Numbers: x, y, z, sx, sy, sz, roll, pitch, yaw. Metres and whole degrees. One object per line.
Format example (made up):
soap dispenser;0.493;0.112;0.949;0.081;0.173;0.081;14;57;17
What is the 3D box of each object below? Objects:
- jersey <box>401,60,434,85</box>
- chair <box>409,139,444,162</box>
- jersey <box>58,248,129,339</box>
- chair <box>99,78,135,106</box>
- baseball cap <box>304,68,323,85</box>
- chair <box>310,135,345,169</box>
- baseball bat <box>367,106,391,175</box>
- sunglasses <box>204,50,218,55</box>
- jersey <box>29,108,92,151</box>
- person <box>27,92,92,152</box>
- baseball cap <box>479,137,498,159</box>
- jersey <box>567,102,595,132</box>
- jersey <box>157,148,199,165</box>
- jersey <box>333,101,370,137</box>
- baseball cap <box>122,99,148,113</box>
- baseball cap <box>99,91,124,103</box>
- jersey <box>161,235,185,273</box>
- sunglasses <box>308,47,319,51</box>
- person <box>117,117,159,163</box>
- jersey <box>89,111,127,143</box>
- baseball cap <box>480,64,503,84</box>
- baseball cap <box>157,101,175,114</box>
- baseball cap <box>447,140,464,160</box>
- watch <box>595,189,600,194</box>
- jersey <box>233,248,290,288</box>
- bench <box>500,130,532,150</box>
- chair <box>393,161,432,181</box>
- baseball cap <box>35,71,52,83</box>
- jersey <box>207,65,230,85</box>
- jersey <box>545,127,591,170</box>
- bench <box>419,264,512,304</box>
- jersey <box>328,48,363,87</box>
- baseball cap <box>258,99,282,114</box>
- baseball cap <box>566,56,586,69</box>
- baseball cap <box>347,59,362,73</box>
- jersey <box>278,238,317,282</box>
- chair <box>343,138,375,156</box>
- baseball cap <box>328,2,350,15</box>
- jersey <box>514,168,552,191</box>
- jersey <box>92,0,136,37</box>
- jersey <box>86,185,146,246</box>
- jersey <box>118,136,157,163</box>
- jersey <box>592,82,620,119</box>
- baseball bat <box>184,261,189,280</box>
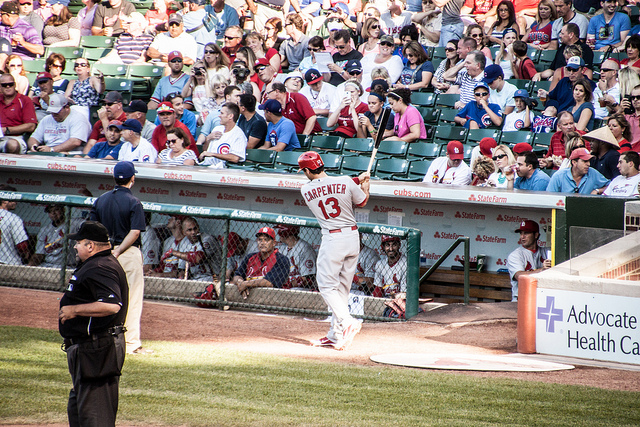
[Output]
jersey;1.921;-2.730;25.435;0.219;0.357;0.397;16;12;-43
chair;1.913;-1.153;23.569;0.345;0.474;0.365;1;1;6
jersey;-3.133;1.104;18.014;1.012;1.200;1.391;1;2;1
chair;-4.137;-2.482;26.833;0.599;0.701;0.603;0;-2;1
baseball cap;-0.141;-2.609;24.938;0.322;0.284;0.255;2;-3;5
chair;0.097;-1.135;23.981;0.604;0.750;0.593;1;3;12
baseball bat;1.051;-1.257;23.243;0.134;1.412;0.184;20;5;-40
sunglasses;-2.146;-3.140;25.464;0.263;0.078;0.129;2;-3;10
jersey;-5.096;-1.566;25.289;1.076;0.740;0.548;4;11;11
person;-5.026;-1.773;25.208;1.036;1.018;1.218;14;30;27
baseball cap;2.950;-1.130;22.740;0.269;0.369;0.319;-1;-4;45
jersey;4.685;-1.697;23.269;0.465;0.522;0.524;2;-3;7
jersey;-2.610;-1.032;23.920;0.759;0.318;0.338;2;-3;-1
jersey;0.588;-1.738;24.520;0.401;0.631;0.679;-3;11;-40
baseball cap;-3.490;-1.994;24.452;0.445;0.248;0.291;3;-3;-10
baseball cap;-3.927;-2.192;24.700;0.326;0.254;0.404;3;-3;-14
jersey;-2.598;0.720;22.653;0.372;0.624;0.133;0;-4;36
sunglasses;-0.157;-3.208;25.553;0.087;0.073;0.224;5;-4;-44
person;-3.355;-1.298;23.851;0.745;0.991;0.816;-7;17;-24
jersey;-4.142;-1.566;25.063;0.502;0.757;0.405;6;7;17
baseball cap;3.182;-2.558;23.972;0.379;0.201;0.258;-36;36;-8
baseball cap;-2.818;-1.919;23.838;0.322;0.246;0.252;4;-4;-33
baseball cap;2.369;-1.069;22.602;0.232;0.331;0.183;-8;-31;-2
watch;4.650;-0.363;21.739;0.065;0.055;0.033;1;-3;18
jersey;-0.964;0.963;22.107;0.556;0.438;0.300;17;-11;24
bench;3.524;-1.309;23.338;0.569;0.336;0.244;2;-3;8
chair;1.648;-0.746;23.410;0.446;0.573;0.444;6;3;24
baseball cap;-5.591;-2.738;26.332;0.295;0.247;0.400;3;-3;-11
jersey;-2.004;-2.744;25.696;0.465;0.252;0.471;3;26;-34
jersey;4.387;-1.131;22.794;0.953;0.766;0.489;-1;-2;24
bench;2.504;1.233;22.361;1.584;0.649;0.509;2;-3;6
jersey;0.461;-2.807;25.677;0.520;0.604;0.346;7;1;18
baseball cap;-0.916;-1.952;23.850;0.367;0.178;0.225;6;29;8
baseball cap;4.639;-2.722;23.644;0.270;0.254;0.250;2;-3;9
baseball cap;0.676;-2.831;25.138;0.284;0.318;0.519;2;-3;1
jersey;-0.479;0.829;22.341;0.939;0.717;0.326;3;14;39
chair;0.735;-1.228;24.033;0.389;0.537;0.398;2;1;18
baseball cap;0.447;-4.463;28.450;0.415;0.167;0.271;6;2;-21
jersey;3.630;-0.535;22.205;0.648;0.467;0.360;1;4;21
jersey;-4.773;-4.461;29.390;0.783;0.965;0.312;9;-21;3
jersey;-3.081;0.084;19.756;1.051;0.901;0.442;6;7;27
jersey;-3.367;-1.140;23.735;0.627;0.468;0.319;10;0;23
jersey;5.179;-2.007;23.506;0.471;0.706;0.583;2;-3;12
baseball bat;-2.313;0.989;22.475;0.069;0.303;0.096;2;-3;0
